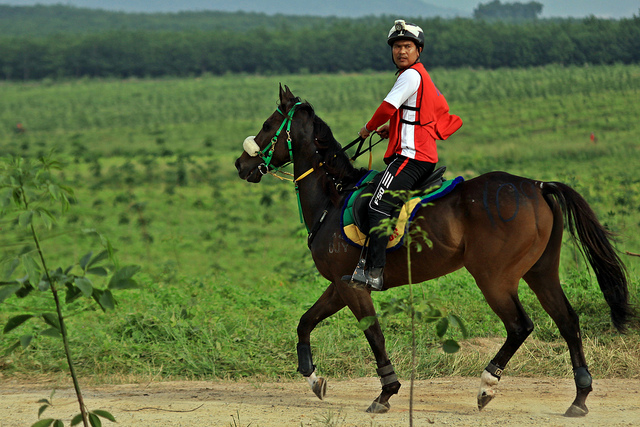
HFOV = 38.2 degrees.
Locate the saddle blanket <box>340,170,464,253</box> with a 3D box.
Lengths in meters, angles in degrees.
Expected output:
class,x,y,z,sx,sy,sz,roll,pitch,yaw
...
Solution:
class,x,y,z,sx,sy,sz,roll,pitch,yaw
saddle blanket,1.689,-0.023,21.249,2.326,1.748,0.970,4,11,18
